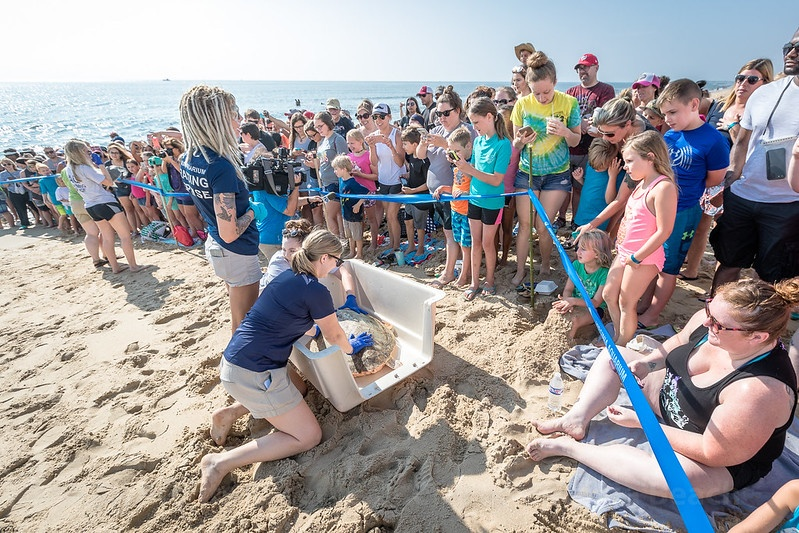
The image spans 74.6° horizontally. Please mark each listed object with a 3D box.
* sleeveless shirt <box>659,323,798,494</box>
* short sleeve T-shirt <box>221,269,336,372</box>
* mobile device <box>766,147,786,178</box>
[{"bbox_3d":[2.832,1.260,4.497,0.705,1.105,1.134,8,22,-7],"label":"sleeveless shirt"},{"bbox_3d":[-1.189,0.574,5.419,1.178,1.028,0.860,-4,11,-21],"label":"short sleeve T-shirt"},{"bbox_3d":[3.950,-1.072,5.490,0.181,0.316,0.125,5,26,25],"label":"mobile device"}]
